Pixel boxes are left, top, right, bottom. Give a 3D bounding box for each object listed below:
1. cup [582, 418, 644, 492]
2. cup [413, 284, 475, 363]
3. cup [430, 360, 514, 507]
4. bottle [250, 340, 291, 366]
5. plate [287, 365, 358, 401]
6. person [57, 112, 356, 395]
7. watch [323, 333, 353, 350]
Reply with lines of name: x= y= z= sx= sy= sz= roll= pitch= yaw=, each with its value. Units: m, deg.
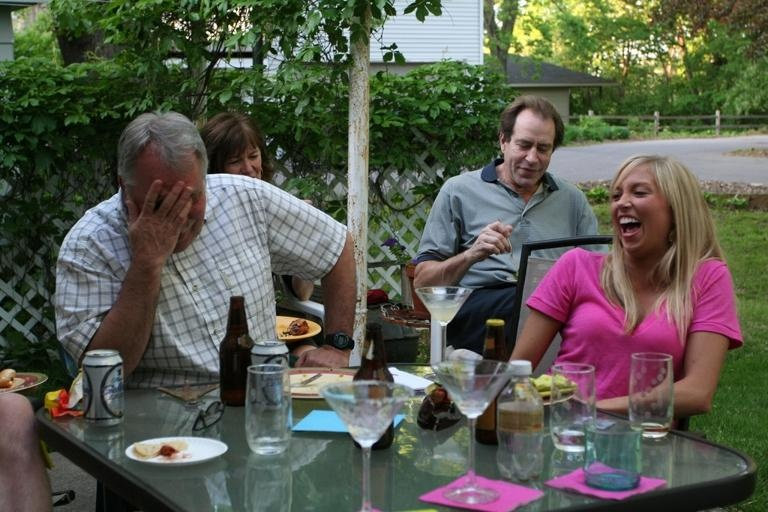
cup: x=0.779 y=0.660 z=2.289 sx=0.203 sy=0.207 sz=0.202 roll=0 pitch=-3 yaw=0
cup: x=0.258 y=0.303 z=3.142 sx=0.378 sy=0.399 sz=0.357 roll=0 pitch=-2 yaw=0
cup: x=0.272 y=0.558 z=2.295 sx=0.420 sy=0.441 sz=0.386 roll=-1 pitch=3 yaw=0
bottle: x=-0.443 y=0.384 z=2.741 sx=0.119 sy=0.099 sz=0.114 roll=0 pitch=0 yaw=-1
plate: x=-0.290 y=0.550 z=3.015 sx=0.248 sy=0.031 sz=0.243 roll=5 pitch=10 yaw=32
person: x=-0.814 y=-0.025 z=3.377 sx=1.387 sy=1.266 sz=0.615 roll=-4 pitch=8 yaw=-36
watch: x=-0.229 y=0.449 z=3.646 sx=0.110 sy=0.052 sz=0.105 roll=9 pitch=-5 yaw=-12
